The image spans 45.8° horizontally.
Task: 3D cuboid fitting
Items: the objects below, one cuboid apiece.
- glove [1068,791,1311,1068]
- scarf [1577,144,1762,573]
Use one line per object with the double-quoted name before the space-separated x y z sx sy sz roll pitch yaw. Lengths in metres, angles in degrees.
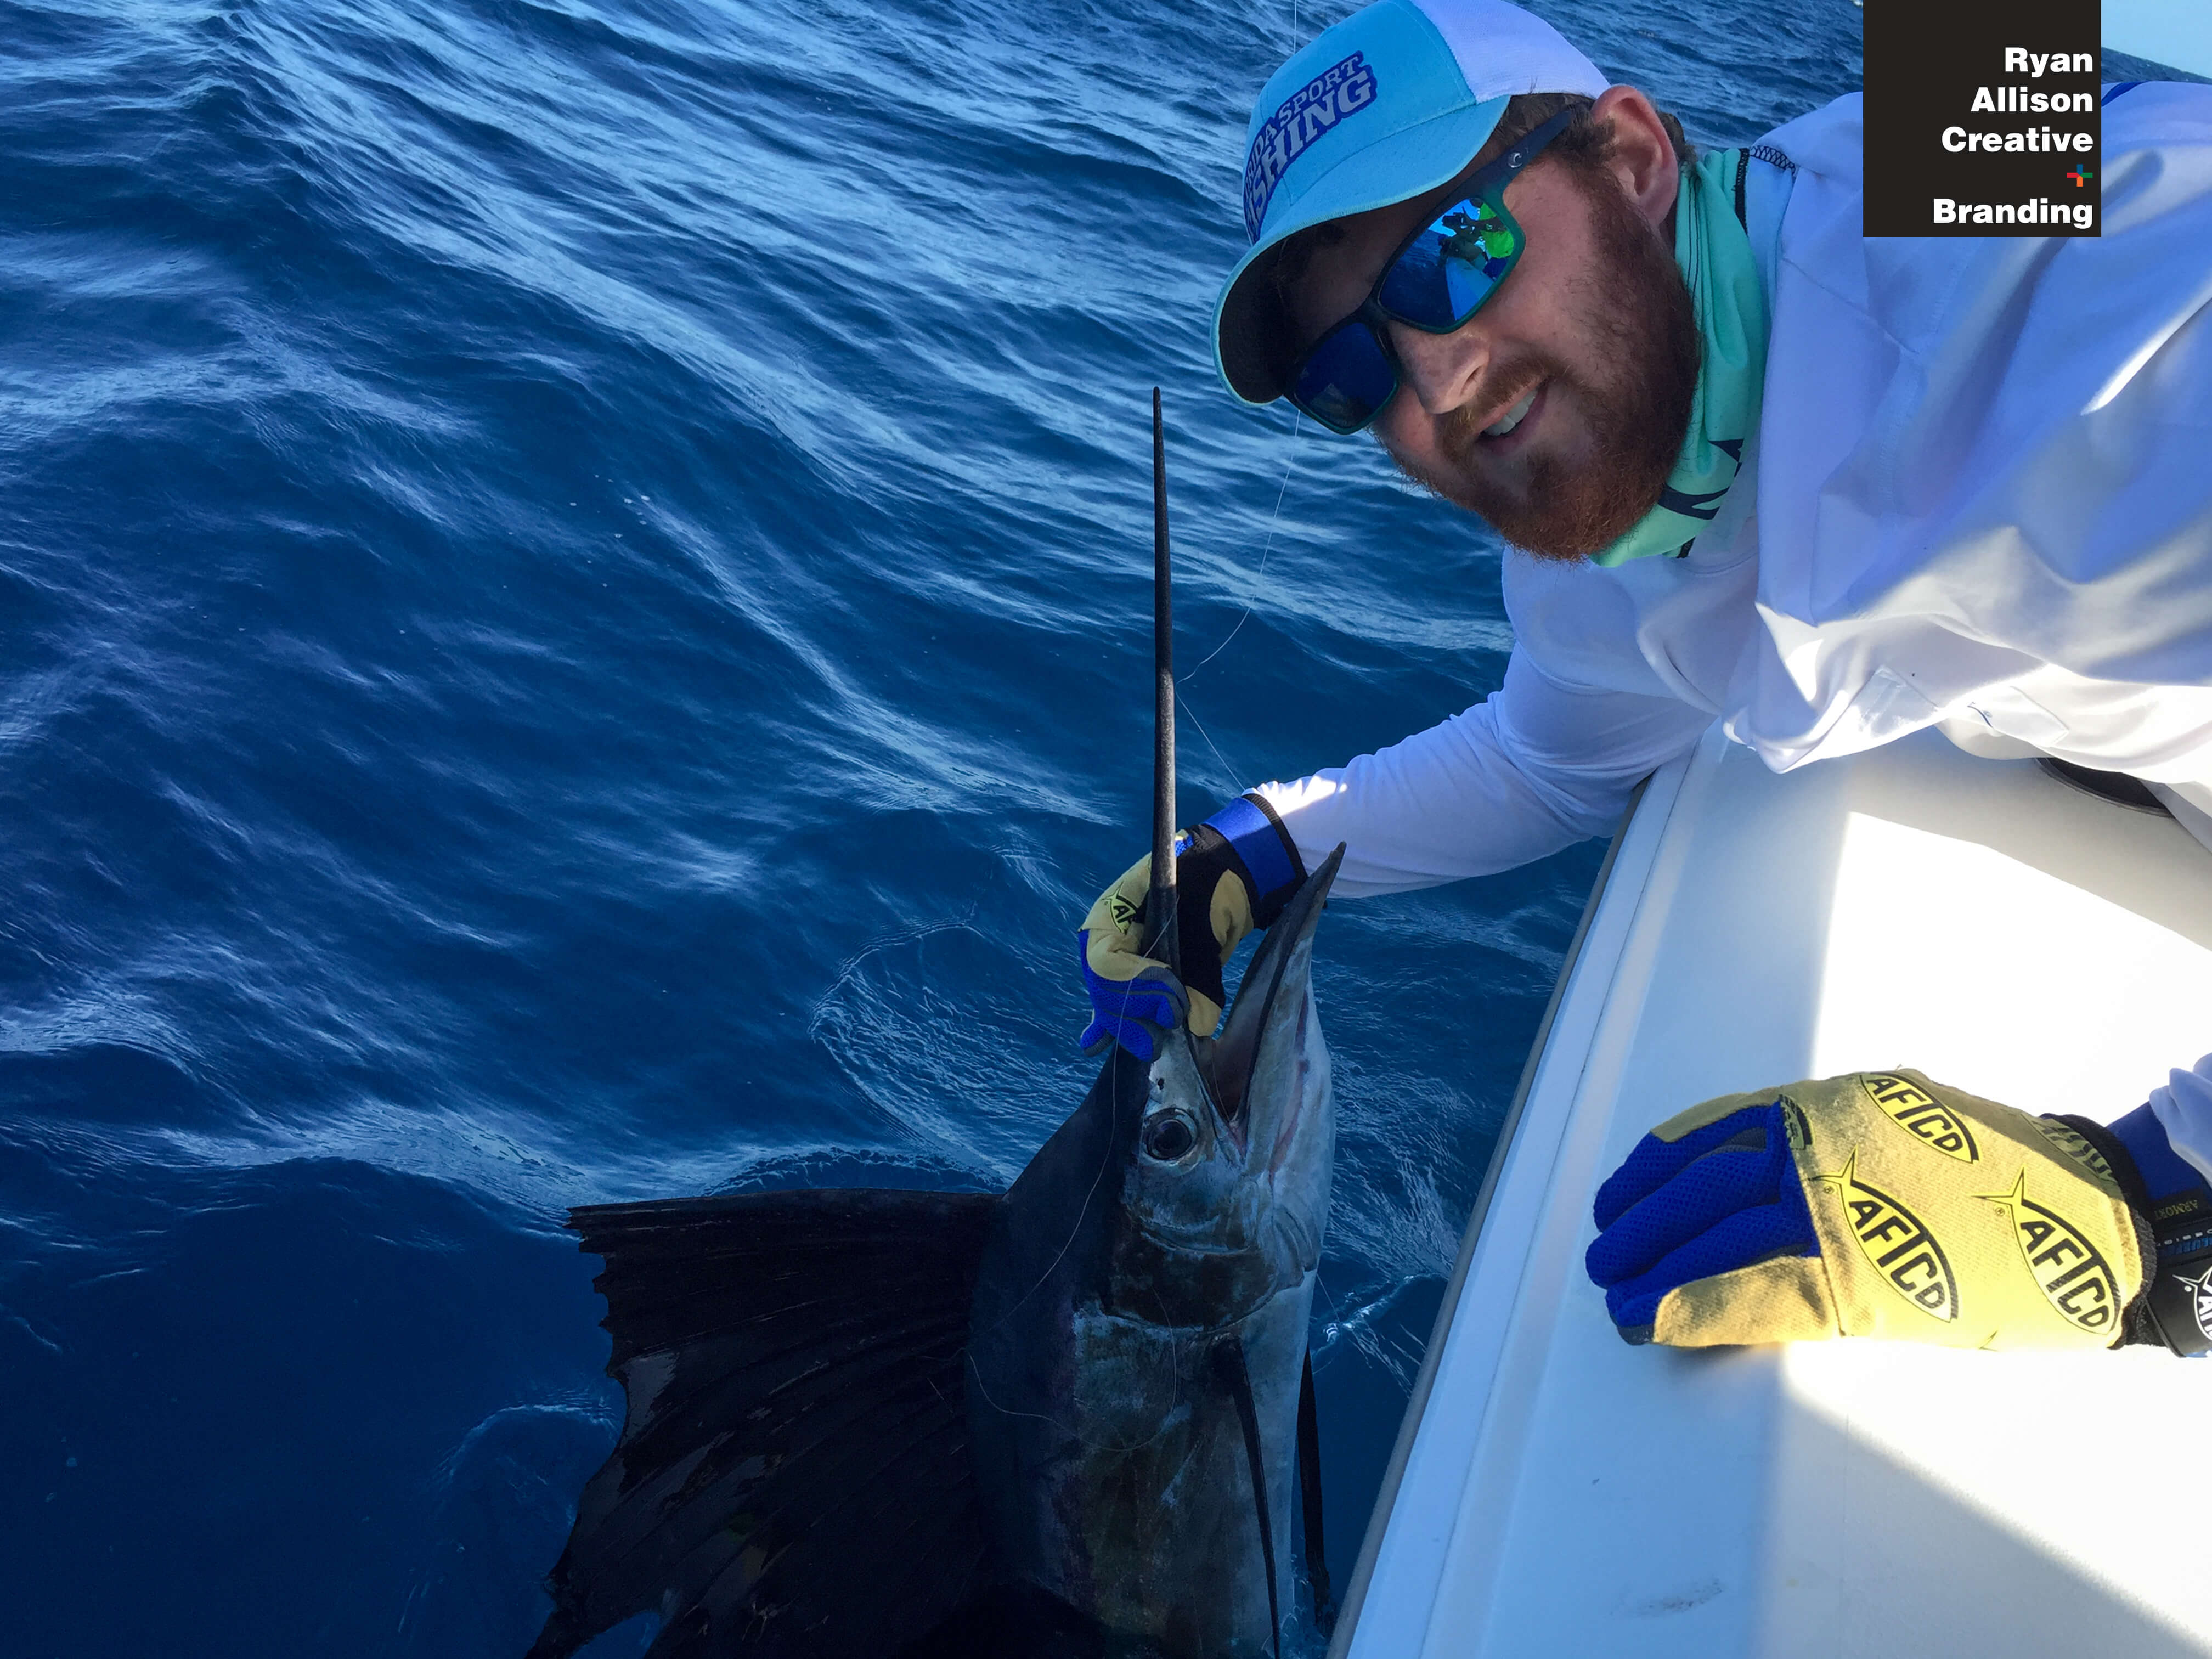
"glove" 0.139 0.153 4.257 0.168 0.203 0.578 0 31 20
"scarf" 0.920 -0.749 4.063 0.191 0.388 0.495 34 48 -48
